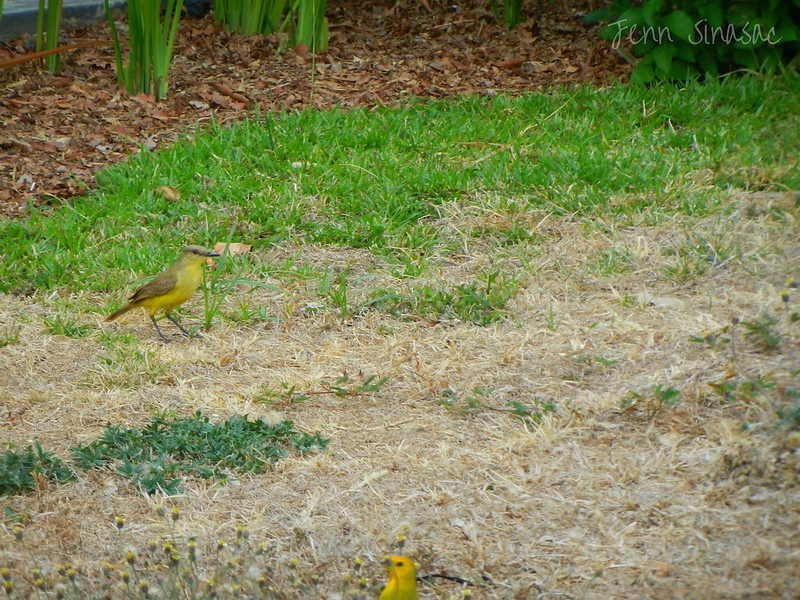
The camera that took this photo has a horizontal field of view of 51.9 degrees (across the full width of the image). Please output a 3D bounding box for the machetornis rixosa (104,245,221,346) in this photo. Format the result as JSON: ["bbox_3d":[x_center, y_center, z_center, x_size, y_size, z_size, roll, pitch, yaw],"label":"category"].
[{"bbox_3d":[-1.301,-0.045,4.606,0.766,0.467,0.261,-2,0,23],"label":"machetornis rixosa"}]
